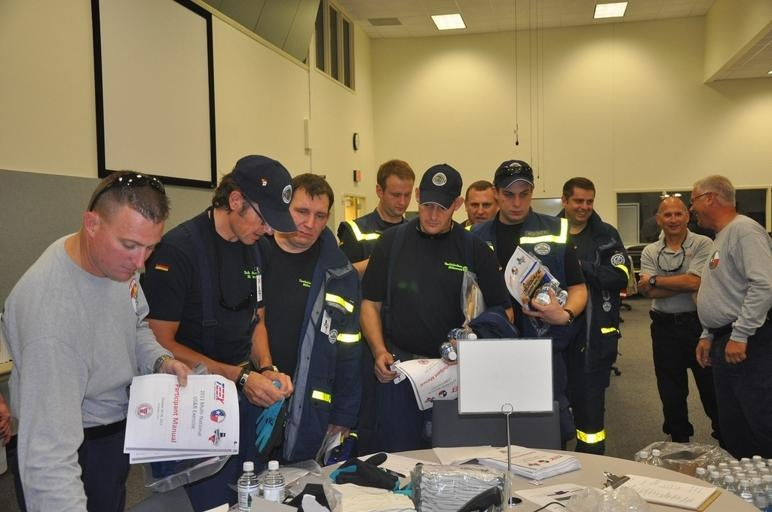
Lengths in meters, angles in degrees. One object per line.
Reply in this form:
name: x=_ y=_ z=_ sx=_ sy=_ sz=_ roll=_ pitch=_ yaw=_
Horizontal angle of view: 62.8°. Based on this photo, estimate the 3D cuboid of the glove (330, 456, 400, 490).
glove: x=-0.102 y=1.037 z=3.044 sx=0.352 sy=0.101 sz=0.197 roll=3 pitch=4 yaw=10

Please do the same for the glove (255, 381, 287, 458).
glove: x=-0.586 y=0.849 z=3.206 sx=0.069 sy=0.279 sz=0.181 roll=22 pitch=39 yaw=-26

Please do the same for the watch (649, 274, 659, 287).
watch: x=2.260 y=0.210 z=5.352 sx=0.083 sy=0.055 sz=0.084 roll=21 pitch=-42 yaw=-18

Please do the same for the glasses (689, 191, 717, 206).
glasses: x=2.343 y=-0.427 z=4.664 sx=0.160 sy=0.043 sz=0.156 roll=7 pitch=-4 yaw=8

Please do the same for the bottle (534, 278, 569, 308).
bottle: x=1.031 y=0.223 z=3.920 sx=0.187 sy=0.186 sz=0.061 roll=-37 pitch=13 yaw=-15

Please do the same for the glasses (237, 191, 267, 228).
glasses: x=-0.698 y=-0.250 z=3.366 sx=0.135 sy=0.037 sz=0.131 roll=43 pitch=-4 yaw=-3

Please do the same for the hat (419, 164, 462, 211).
hat: x=0.342 y=-0.424 z=3.873 sx=0.203 sy=0.165 sz=0.308 roll=14 pitch=27 yaw=9

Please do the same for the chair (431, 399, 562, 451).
chair: x=0.611 y=0.914 z=3.434 sx=0.697 sy=0.254 sz=0.144 roll=2 pitch=4 yaw=0

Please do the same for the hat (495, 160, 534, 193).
hat: x=0.858 y=-0.537 z=4.279 sx=0.180 sy=0.138 sz=0.254 roll=1 pitch=-3 yaw=3

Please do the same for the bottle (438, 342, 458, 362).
bottle: x=0.366 y=0.549 z=3.658 sx=0.075 sy=0.106 sz=0.135 roll=2 pitch=4 yaw=2

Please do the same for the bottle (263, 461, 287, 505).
bottle: x=-0.488 y=1.007 z=2.797 sx=0.095 sy=0.186 sz=0.211 roll=1 pitch=4 yaw=-11

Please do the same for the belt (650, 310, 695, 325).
belt: x=2.388 y=0.507 z=5.311 sx=0.118 sy=0.128 sz=0.400 roll=-2 pitch=6 yaw=-41

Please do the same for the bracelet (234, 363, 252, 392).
bracelet: x=-0.754 y=0.652 z=3.430 sx=0.078 sy=0.128 sz=0.127 roll=26 pitch=-18 yaw=-10

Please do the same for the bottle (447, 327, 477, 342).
bottle: x=0.449 y=0.446 z=3.748 sx=0.101 sy=0.058 sz=0.137 roll=5 pitch=-5 yaw=-37

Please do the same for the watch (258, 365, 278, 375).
watch: x=-0.636 y=0.615 z=3.474 sx=0.072 sy=0.036 sz=0.060 roll=-1 pitch=-7 yaw=12
